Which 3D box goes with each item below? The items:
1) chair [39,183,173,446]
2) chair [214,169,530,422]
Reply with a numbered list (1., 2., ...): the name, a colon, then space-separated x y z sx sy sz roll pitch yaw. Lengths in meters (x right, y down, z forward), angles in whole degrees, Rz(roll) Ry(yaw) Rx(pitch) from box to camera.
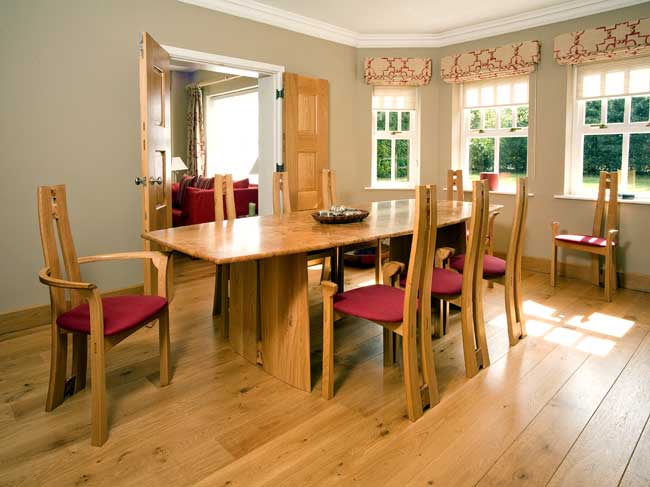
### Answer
1. chair: -1.465 0.293 3.137 0.786 1.401 1.401 -8 13 -21
2. chair: 0.509 0.275 3.111 1.171 1.346 0.676 -14 16 -40
